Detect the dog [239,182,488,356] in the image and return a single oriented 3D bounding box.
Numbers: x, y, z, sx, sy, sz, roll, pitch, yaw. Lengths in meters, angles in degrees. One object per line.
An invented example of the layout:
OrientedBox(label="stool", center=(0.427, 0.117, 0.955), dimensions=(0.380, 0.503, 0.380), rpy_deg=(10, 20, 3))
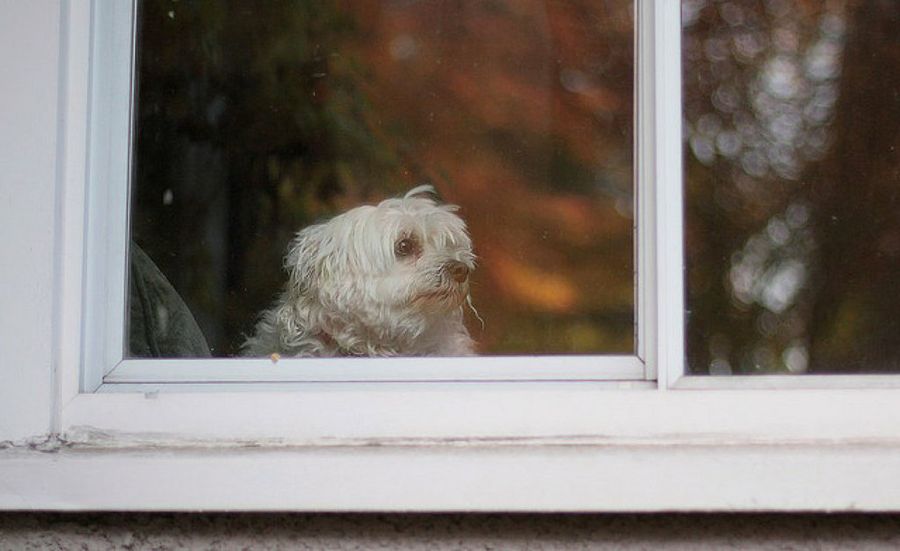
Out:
OrientedBox(label="dog", center=(-0.127, 0.030, 5.317), dimensions=(0.431, 0.560, 0.387), rpy_deg=(-6, 6, 11))
